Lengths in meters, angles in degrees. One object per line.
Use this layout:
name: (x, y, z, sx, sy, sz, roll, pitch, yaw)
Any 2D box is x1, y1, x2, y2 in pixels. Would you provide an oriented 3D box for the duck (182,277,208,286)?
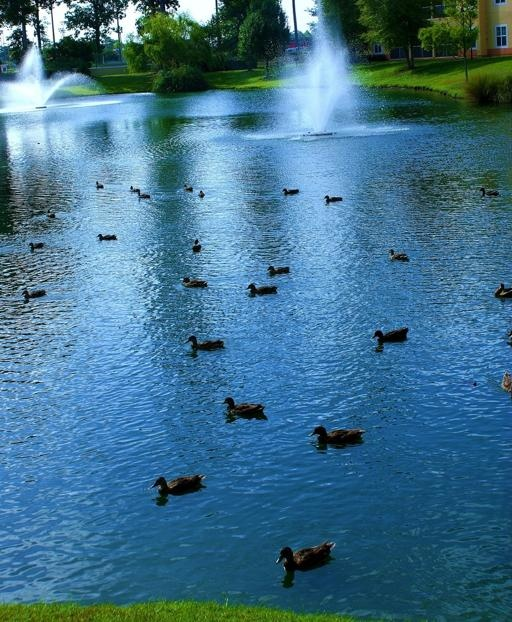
duck: (-2.956, -1.399, 35.860, 1.320, 0.591, 0.472, 4, 12, 12)

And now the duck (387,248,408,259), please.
duck: (7.193, -2.799, 37.524, 1.079, 0.689, 0.397, 1, 3, 0)

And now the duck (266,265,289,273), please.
duck: (1.160, -2.105, 36.817, 0.808, 0.447, 0.425, 0, 1, 5)

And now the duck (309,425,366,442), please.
duck: (2.367, 3.489, 21.300, 1.417, 0.439, 0.568, -2, 11, 3)

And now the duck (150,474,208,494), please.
duck: (-2.000, 4.556, 19.495, 1.359, 0.680, 0.478, -10, 7, -5)

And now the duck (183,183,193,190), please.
duck: (-5.374, -9.828, 59.075, 0.444, 0.497, 1.285, -1, 17, -14)

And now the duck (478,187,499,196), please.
duck: (15.693, -7.908, 49.715, 1.394, 0.749, 0.620, 0, -24, 8)

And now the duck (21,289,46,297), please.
duck: (-10.710, -0.863, 35.860, 1.124, 0.561, 0.405, -3, 2, -23)

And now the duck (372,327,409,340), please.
duck: (5.064, 0.861, 27.950, 1.286, 0.607, 0.492, -11, 5, 5)

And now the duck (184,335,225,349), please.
duck: (-1.959, 1.202, 28.506, 1.360, 0.471, 0.740, 2, 49, 7)

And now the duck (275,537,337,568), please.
duck: (1.085, 5.342, 16.255, 1.270, 0.658, 0.496, -13, 35, -7)

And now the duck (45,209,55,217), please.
duck: (-14.939, -7.113, 54.064, 0.594, 0.433, 1.149, -8, 24, -18)
